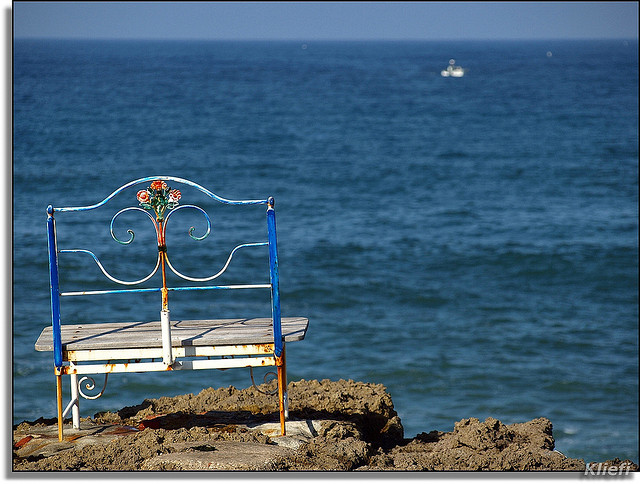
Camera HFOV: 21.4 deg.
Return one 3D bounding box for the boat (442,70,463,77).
[{"bbox_3d":[13.118,-16.485,167.289,2.019,0.546,1.106,1,7,31],"label":"boat"}]
